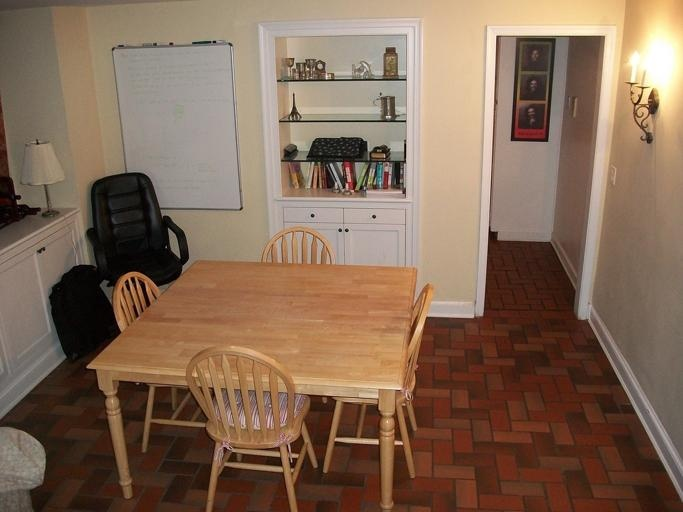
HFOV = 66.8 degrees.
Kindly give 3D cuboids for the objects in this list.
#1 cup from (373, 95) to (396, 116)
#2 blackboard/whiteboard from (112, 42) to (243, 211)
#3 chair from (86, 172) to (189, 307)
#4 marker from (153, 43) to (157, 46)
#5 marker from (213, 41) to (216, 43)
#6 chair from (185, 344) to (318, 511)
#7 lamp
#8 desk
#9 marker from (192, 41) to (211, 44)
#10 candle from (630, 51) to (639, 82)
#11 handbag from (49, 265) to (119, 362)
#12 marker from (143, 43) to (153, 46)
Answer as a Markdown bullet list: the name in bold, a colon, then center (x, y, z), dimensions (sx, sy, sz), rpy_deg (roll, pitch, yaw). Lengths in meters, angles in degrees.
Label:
- **cup**: center (0.396, -1.368, 4.697), dimensions (0.148, 0.259, 0.180), rpy_deg (12, 29, 30)
- **blackboard/whiteboard**: center (-1.514, -1.244, 4.738), dimensions (1.403, 1.848, 0.116), rpy_deg (0, 17, 1)
- **chair**: center (-1.894, -0.048, 4.759), dimensions (0.812, 1.215, 0.862), rpy_deg (11, 28, 8)
- **marker**: center (-1.662, -1.877, 4.595), dimensions (0.030, 0.022, 0.015), rpy_deg (-3, 22, -5)
- **marker**: center (-1.121, -1.870, 4.532), dimensions (0.029, 0.016, 0.007), rpy_deg (-4, 11, -2)
- **chair**: center (-0.506, 0.985, 2.953), dimensions (0.646, 1.187, 0.766), rpy_deg (3, 30, 1)
- **lamp**: center (-2.551, -0.661, 4.416), dimensions (0.325, 0.606, 0.380), rpy_deg (-13, 24, -27)
- **desk**: center (-0.363, 1.193, 3.604), dimensions (1.790, 1.048, 1.490), rpy_deg (2, 28, 6)
- **marker**: center (-1.233, -1.877, 4.549), dimensions (0.168, 0.028, 0.036), rpy_deg (6, 23, 17)
- **candle**: center (2.179, -1.398, 3.841), dimensions (0.073, 0.214, 0.436), rpy_deg (10, 24, 26)
- **handbag**: center (-2.166, 0.463, 4.270), dimensions (0.267, 0.673, 0.571), rpy_deg (-8, 17, 25)
- **marker**: center (-1.724, -1.870, 4.600), dimensions (0.094, 0.029, 0.019), rpy_deg (2, 22, 8)
